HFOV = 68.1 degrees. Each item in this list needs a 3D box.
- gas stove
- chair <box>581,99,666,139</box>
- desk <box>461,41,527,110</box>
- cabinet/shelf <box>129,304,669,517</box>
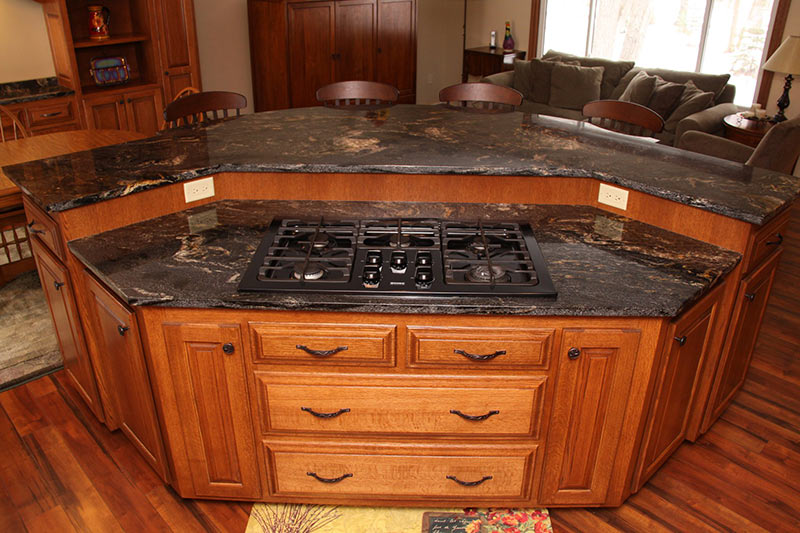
[{"bbox_3d":[-0.005,-0.059,2.986,1.481,0.212,0.632,1,23,0],"label":"gas stove"},{"bbox_3d":[1.585,-1.074,4.284,0.518,0.241,0.362,3,25,2],"label":"chair"},{"bbox_3d":[1.361,-2.704,8.237,0.513,0.589,0.775,-27,40,-24],"label":"desk"},{"bbox_3d":[0.011,0.672,2.897,2.098,0.631,0.341,1,36,2],"label":"cabinet/shelf"}]
